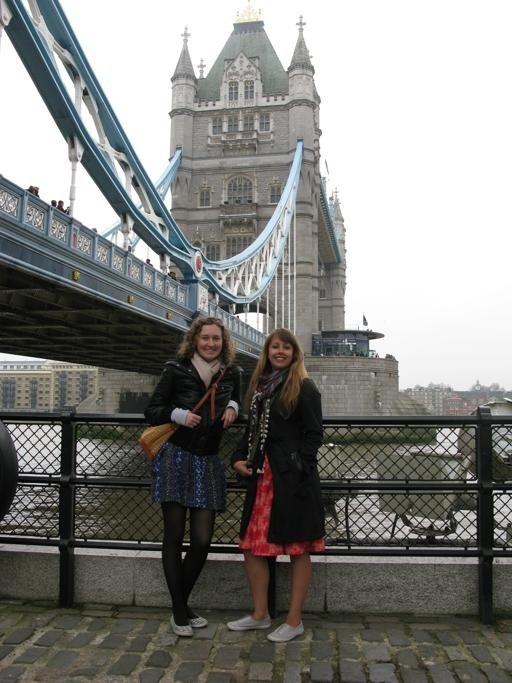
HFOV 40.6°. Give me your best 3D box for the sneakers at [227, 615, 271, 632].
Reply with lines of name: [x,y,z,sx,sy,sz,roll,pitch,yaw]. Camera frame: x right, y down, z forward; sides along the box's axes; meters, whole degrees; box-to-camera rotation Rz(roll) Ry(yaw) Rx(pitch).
sneakers: [-0.028,1.218,3.014,0.184,0.062,0.065,3,-13,-7]

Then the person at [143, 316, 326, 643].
person: [-0.097,0.569,3.115,0.805,1.363,0.366,1,-5,4]

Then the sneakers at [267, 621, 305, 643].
sneakers: [0.124,1.204,2.898,0.149,0.050,0.058,2,-6,-35]

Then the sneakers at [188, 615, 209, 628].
sneakers: [-0.255,1.220,3.022,0.067,0.041,0.116,2,-11,-7]
